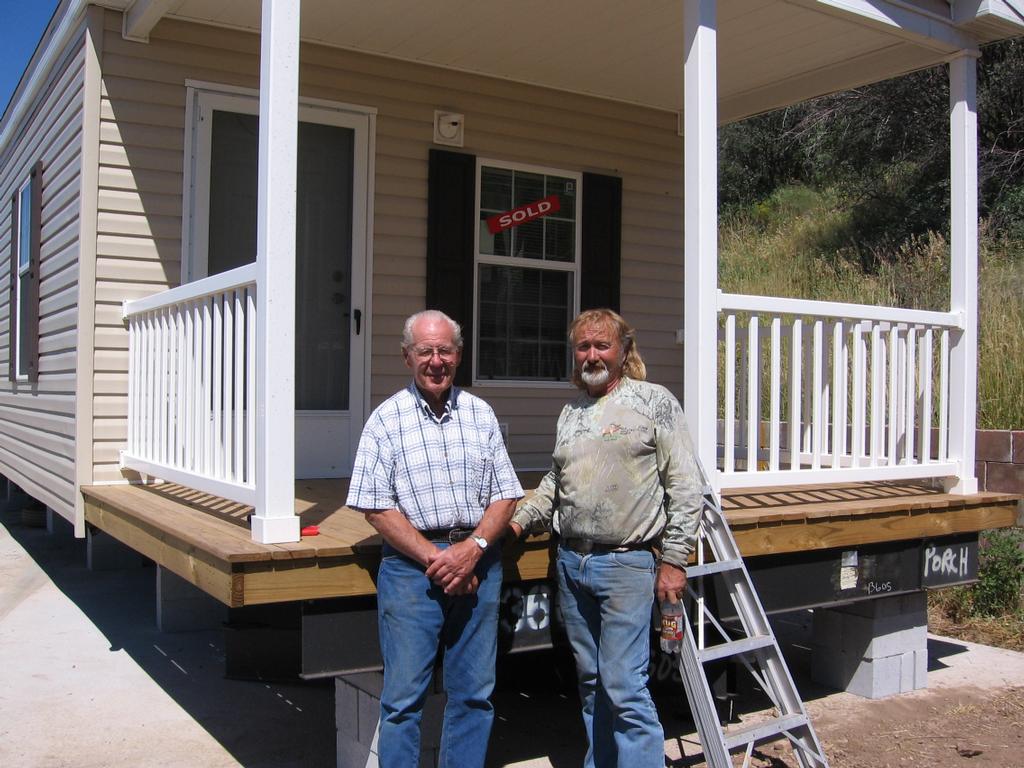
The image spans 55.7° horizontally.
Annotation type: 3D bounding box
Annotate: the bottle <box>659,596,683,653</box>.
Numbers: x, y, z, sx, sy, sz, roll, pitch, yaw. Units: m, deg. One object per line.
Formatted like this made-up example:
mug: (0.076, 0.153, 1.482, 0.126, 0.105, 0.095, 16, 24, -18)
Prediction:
bottle: (0.771, 1.181, 4.801, 0.102, 0.358, 0.136, 3, 19, 23)

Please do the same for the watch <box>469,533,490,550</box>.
watch: (-0.143, 0.736, 4.558, 0.070, 0.028, 0.067, 44, -6, -34)
